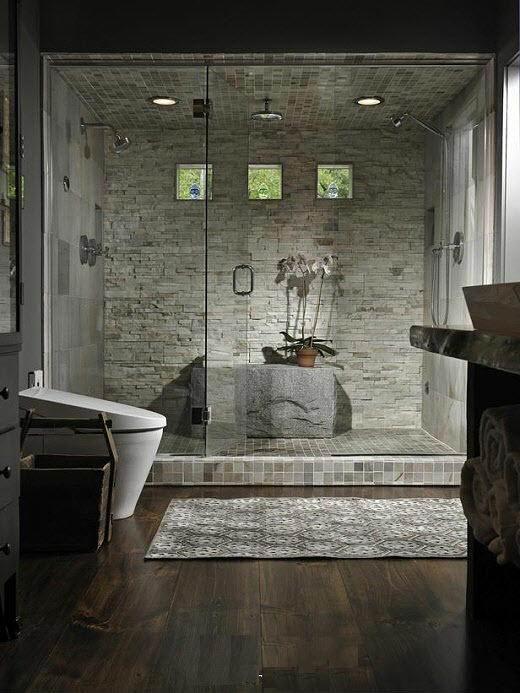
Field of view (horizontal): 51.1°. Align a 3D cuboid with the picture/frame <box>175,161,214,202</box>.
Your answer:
[{"bbox_3d":[-0.394,-0.973,3.190,0.209,0.238,0.015,1,-1,-3],"label":"picture/frame"}]

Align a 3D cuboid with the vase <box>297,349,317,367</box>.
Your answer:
[{"bbox_3d":[0.410,0.100,4.804,0.146,0.126,0.155,2,-11,-4],"label":"vase"}]

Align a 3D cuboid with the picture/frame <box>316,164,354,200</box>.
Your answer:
[{"bbox_3d":[0.687,-1.482,4.864,0.289,0.302,0.102,0,0,5],"label":"picture/frame"}]

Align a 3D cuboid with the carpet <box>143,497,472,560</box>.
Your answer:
[{"bbox_3d":[0.248,0.786,2.408,1.404,0.027,0.820,0,-2,0],"label":"carpet"}]

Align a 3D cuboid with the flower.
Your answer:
[{"bbox_3d":[0.413,-0.338,4.882,0.535,0.993,0.270,0,-2,2],"label":"flower"}]
